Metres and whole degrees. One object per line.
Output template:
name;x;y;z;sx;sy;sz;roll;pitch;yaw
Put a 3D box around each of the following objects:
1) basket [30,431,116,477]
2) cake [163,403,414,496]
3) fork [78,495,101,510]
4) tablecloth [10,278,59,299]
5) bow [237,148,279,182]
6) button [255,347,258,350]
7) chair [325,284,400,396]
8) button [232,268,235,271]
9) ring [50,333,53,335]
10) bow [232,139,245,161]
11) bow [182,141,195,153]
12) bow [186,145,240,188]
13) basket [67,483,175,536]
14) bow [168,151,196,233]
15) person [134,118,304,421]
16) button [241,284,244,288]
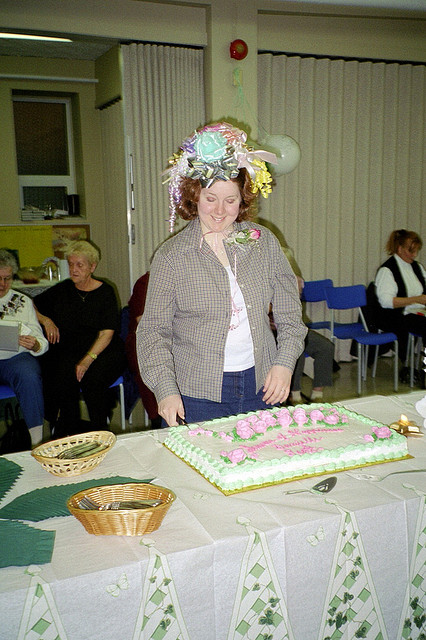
basket;-0.334;0.319;1.175;0.182;0.069;0.208;-3;0;-23
cake;0.189;0.300;1.223;0.378;0.053;0.246;-5;12;-25
fork;-0.229;0.335;0.920;0.050;0.007;0.014;23;22;19
tablecloth;-1.541;-0.274;4.257;0.329;0.116;0.909;-4;13;-19
bow;0.127;-0.438;1.377;0.102;0.032;0.103;17;57;19
button;0.128;0.083;1.449;0.007;0.006;0.001;-4;13;-20
chair;1.349;0.154;4.521;0.490;0.900;0.594;-7;14;-10
button;0.060;-0.147;1.432;0.008;0.008;0.002;-5;-10;-4
ring;-1.085;0.090;3.315;0.014;0.013;0.014;1;4;0
bow;0.066;-0.467;1.351;0.014;0.055;0.059;-10;22;18
bow;-0.067;-0.482;1.390;0.010;0.025;0.041;-9;38;-34
bow;0.005;-0.409;1.311;0.123;0.052;0.124;6;3;1
basket;-0.166;0.338;0.897;0.189;0.076;0.135;0;13;-3
bow;-0.113;-0.382;1.430;0.069;0.218;0.086;6;-25;14
person;0.041;-0.138;1.446;0.548;0.862;0.366;-5;14;-26
button;0.087;-0.099;1.428;0.011;0.009;0.003;-11;17;-41
